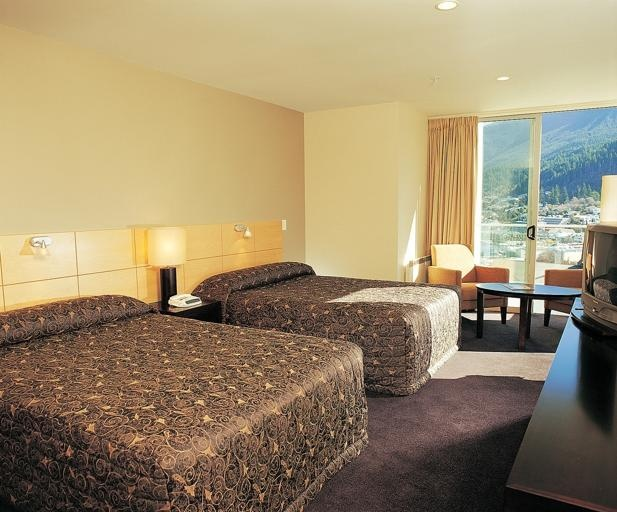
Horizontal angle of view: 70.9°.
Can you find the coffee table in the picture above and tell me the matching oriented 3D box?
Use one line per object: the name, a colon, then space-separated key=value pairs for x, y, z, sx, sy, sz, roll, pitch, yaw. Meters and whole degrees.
coffee table: x=2.305 y=0.551 z=4.753 sx=0.866 sy=0.502 sz=0.842 roll=0 pitch=0 yaw=-2
